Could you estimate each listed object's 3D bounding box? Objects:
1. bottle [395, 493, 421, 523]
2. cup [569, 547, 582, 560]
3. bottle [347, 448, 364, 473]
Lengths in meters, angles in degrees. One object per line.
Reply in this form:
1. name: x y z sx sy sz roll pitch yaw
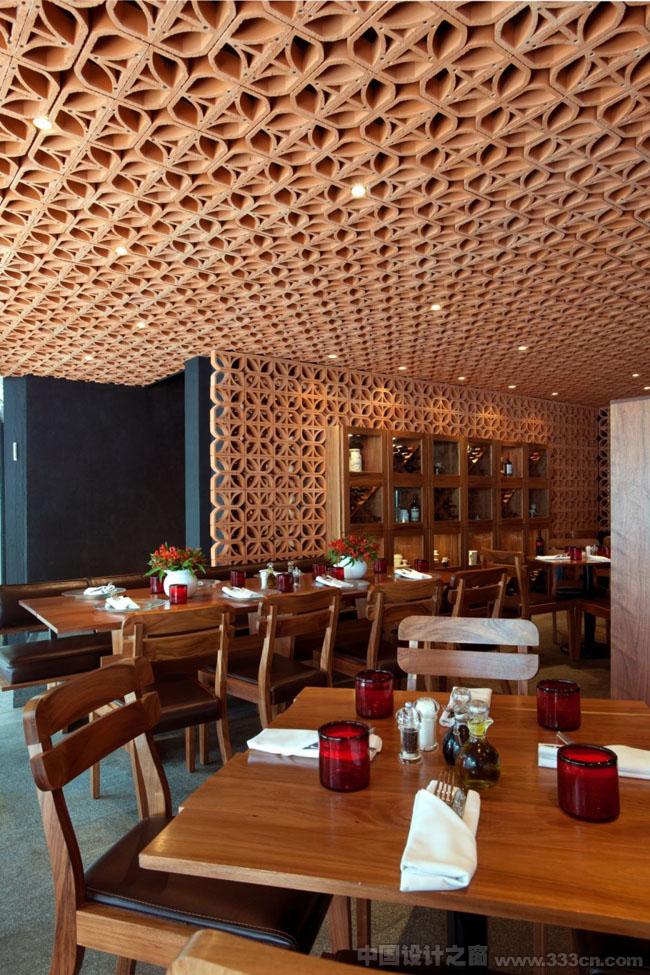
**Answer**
1. bottle: 0.818 0.200 6.625 0.190 0.339 0.297 -3 -2 41
2. cup: 2.082 0.563 5.604 0.051 0.090 0.096 -3 -3 40
3. bottle: 0.283 -0.253 6.313 0.084 0.223 0.281 -2 -1 20
